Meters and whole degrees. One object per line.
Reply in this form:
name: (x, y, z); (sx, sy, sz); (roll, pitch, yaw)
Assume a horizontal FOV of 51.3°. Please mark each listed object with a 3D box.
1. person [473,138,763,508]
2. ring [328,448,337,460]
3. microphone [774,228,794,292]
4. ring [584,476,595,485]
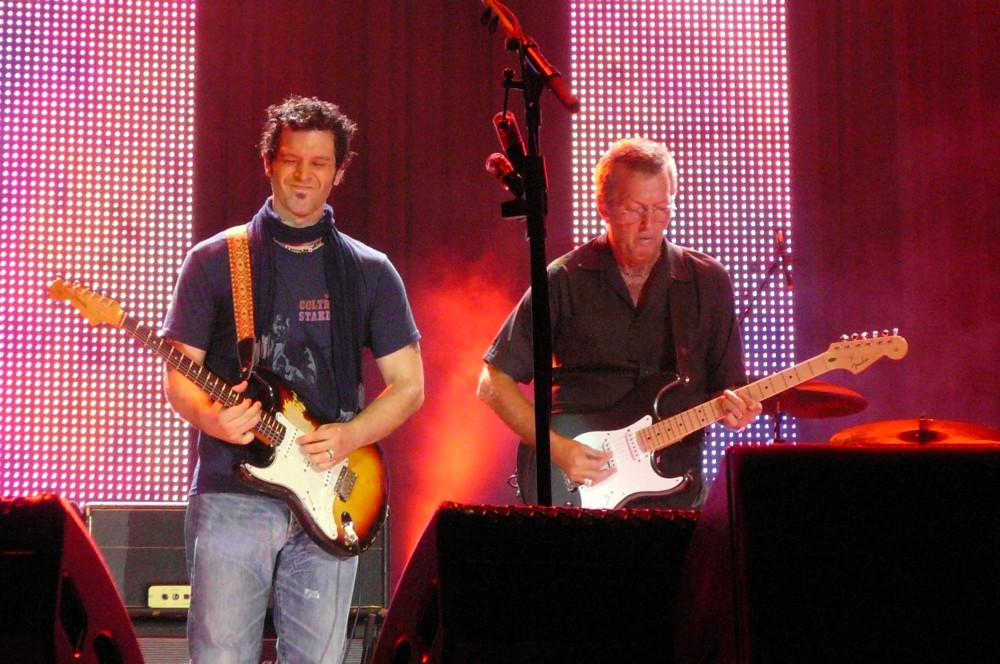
person: (0.571, 0.066, 4.427); (1.237, 1.664, 0.832); (-1, 26, 1)
ring: (-0.597, 0.436, 3.735); (0.027, 0.018, 0.029); (2, 2, 0)
microphone: (1.499, -0.375, 5.450); (0.110, 0.314, 0.505); (3, 4, 15)
ring: (0.364, 0.601, 4.193); (0.037, 0.043, 0.024); (-1, 1, 6)
